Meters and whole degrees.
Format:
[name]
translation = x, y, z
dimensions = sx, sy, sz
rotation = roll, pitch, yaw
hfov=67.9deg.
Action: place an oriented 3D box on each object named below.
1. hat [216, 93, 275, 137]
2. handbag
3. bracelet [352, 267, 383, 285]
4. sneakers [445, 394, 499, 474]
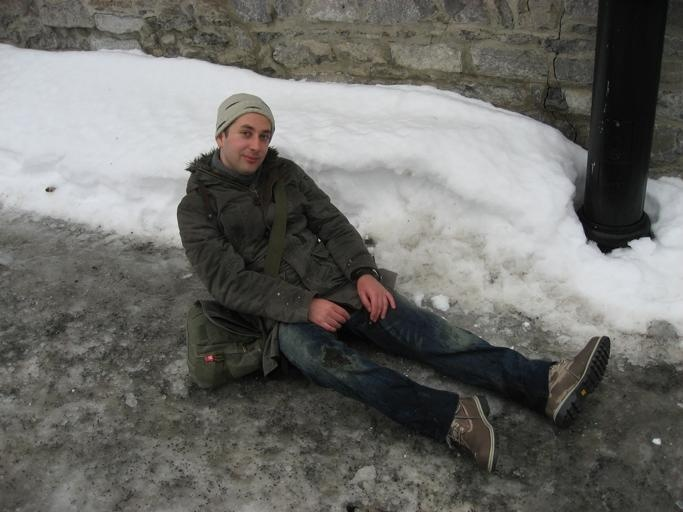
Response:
[hat]
translation = -0.604, -0.807, 3.051
dimensions = 0.281, 0.212, 0.278
rotation = -8, 8, -35
[handbag]
translation = -0.656, 0.495, 2.890
dimensions = 0.426, 0.421, 0.355
rotation = -4, 29, -10
[bracelet]
translation = 0.152, 0.108, 3.070
dimensions = 0.112, 0.054, 0.103
rotation = -11, 5, 3
[sneakers]
translation = 0.673, 0.871, 2.527
dimensions = 0.250, 0.220, 0.232
rotation = 15, 31, 22
